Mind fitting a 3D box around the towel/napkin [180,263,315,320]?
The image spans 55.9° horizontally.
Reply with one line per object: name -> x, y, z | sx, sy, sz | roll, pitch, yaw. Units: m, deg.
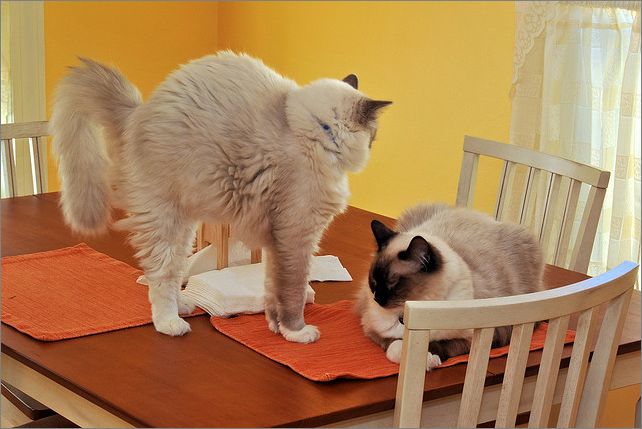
towel/napkin -> -0.264, 0.221, 1.768 | 0.212, 0.067, 0.203 | -6, 9, -33

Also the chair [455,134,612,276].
chair -> 0.864, -0.043, 2.369 | 0.407, 0.663, 0.389 | 14, 12, -43

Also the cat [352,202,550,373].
cat -> 0.369, 0.129, 1.677 | 0.344, 0.287, 0.515 | 17, 31, 37
